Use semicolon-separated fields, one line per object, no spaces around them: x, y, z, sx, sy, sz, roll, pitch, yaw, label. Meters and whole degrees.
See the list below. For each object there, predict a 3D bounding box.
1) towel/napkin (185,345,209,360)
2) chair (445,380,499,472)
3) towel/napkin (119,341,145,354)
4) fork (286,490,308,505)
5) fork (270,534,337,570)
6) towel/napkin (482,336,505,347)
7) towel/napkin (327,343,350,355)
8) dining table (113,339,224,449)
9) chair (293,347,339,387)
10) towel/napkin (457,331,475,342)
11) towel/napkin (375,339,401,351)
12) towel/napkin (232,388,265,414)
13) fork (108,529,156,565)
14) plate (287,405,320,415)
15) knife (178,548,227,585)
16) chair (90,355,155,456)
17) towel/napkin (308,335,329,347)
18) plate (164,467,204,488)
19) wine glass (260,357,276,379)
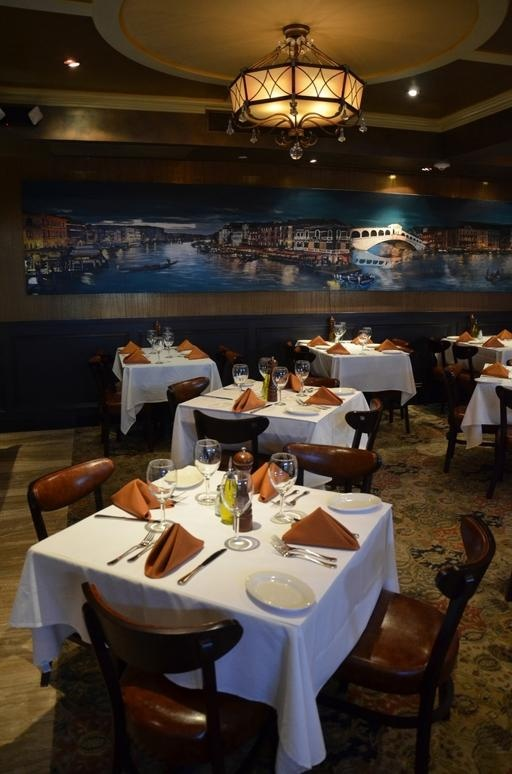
-0.568;-0.325;4.945;0.217;0.106;0.304;-1;2;-7;towel/napkin
1.652;0.335;4.042;0.429;0.759;0.542;-2;14;9;chair
-1.203;-0.369;5.035;0.241;0.117;0.250;-1;6;5;towel/napkin
0.135;0.357;1.724;0.024;0.026;0.140;6;4;19;fork
0.114;0.417;1.307;0.171;0.027;0.051;12;19;32;fork
2.376;-0.439;5.292;0.166;0.077;0.223;1;6;24;towel/napkin
0.798;-0.370;5.140;0.157;0.076;0.210;0;4;12;towel/napkin
-0.866;0.002;4.763;0.633;0.447;1.107;-8;16;-18;dining table
0.538;-0.208;4.959;0.415;0.633;0.396;-1;14;3;chair
2.340;-0.556;5.923;0.155;0.092;0.198;-1;12;5;towel/napkin
1.275;-0.392;5.146;0.189;0.086;0.196;-1;1;18;towel/napkin
-0.041;0.075;2.878;0.112;0.072;0.152;-1;6;11;towel/napkin
-0.301;0.408;1.345;0.025;0.032;0.226;8;10;16;fork
0.244;0.128;2.795;0.173;0.015;0.189;-2;11;-6;plate
-0.124;0.422;1.267;0.027;0.012;0.215;11;14;22;knife
-1.158;0.179;4.646;0.559;0.940;0.581;-5;21;-12;chair
0.680;-0.512;5.882;0.182;0.090;0.190;0;4;10;towel/napkin
-0.249;0.303;1.863;0.106;0.016;0.109;2;15;7;plate
0.060;-0.116;3.160;0.108;0.184;0.119;1;3;2;wine glass
